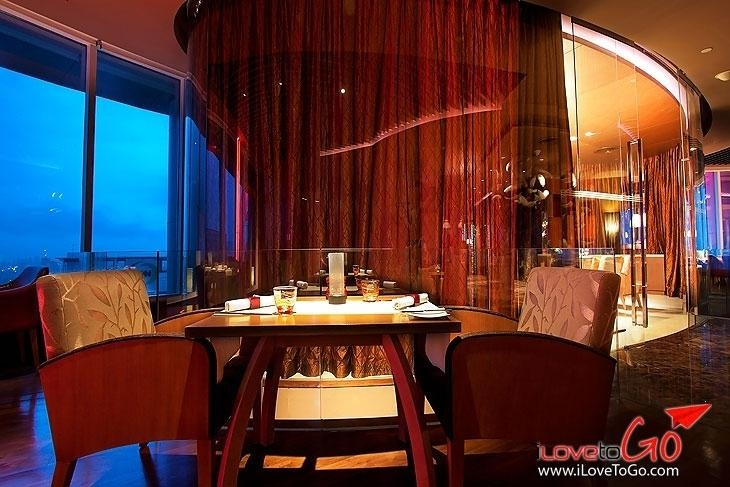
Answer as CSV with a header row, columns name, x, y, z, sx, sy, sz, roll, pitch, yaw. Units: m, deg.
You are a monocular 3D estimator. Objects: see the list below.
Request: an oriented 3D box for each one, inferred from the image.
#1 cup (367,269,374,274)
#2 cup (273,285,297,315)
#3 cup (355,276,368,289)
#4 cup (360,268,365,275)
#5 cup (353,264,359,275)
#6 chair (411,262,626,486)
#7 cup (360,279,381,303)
name,x,y,z,sx,sy,sz,roll,pitch,yaw
cup,0.043,0.241,4.300,0.048,0.053,0.035,1,4,7
cup,-0.596,0.418,3.770,0.172,0.208,0.178,-1,0,0
cup,-0.026,0.325,4.220,0.092,0.111,0.095,0,-1,0
cup,-0.021,0.235,4.288,0.046,0.050,0.035,0,-8,-2
cup,-0.075,0.220,4.297,0.063,0.076,0.066,0,-4,0
chair,0.933,1.044,4.307,1.553,1.895,1.305,2,-9,-6
cup,0.039,0.373,4.038,0.147,0.179,0.153,-1,-1,0
